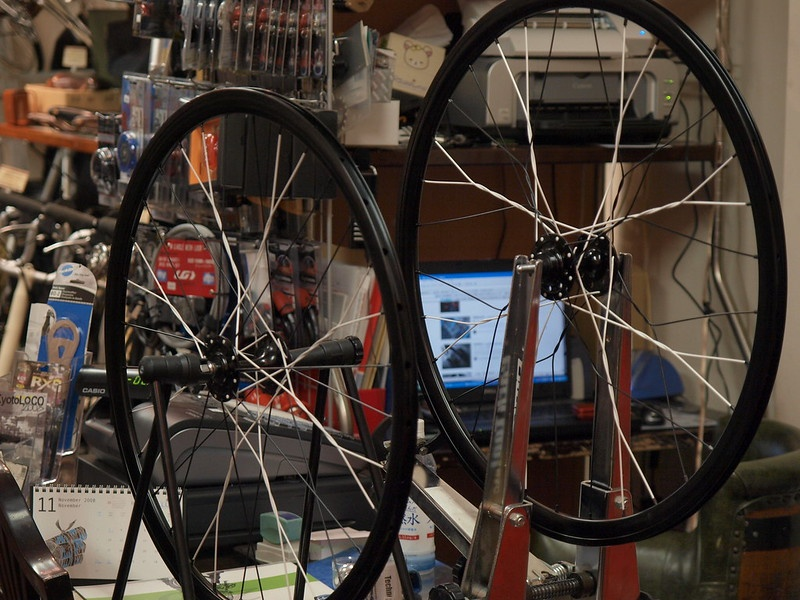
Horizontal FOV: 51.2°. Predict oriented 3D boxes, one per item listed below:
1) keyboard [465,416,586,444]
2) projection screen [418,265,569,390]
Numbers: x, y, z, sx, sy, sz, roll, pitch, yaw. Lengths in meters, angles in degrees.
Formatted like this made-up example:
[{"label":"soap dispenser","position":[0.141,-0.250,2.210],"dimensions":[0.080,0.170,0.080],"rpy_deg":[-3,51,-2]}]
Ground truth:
[{"label":"keyboard","position":[0.350,0.363,2.297],"dimensions":[0.361,0.073,0.134],"rpy_deg":[3,-4,-19]},{"label":"projection screen","position":[0.264,0.084,2.428],"dimensions":[0.269,0.392,0.437],"rpy_deg":[2,1,41]}]
